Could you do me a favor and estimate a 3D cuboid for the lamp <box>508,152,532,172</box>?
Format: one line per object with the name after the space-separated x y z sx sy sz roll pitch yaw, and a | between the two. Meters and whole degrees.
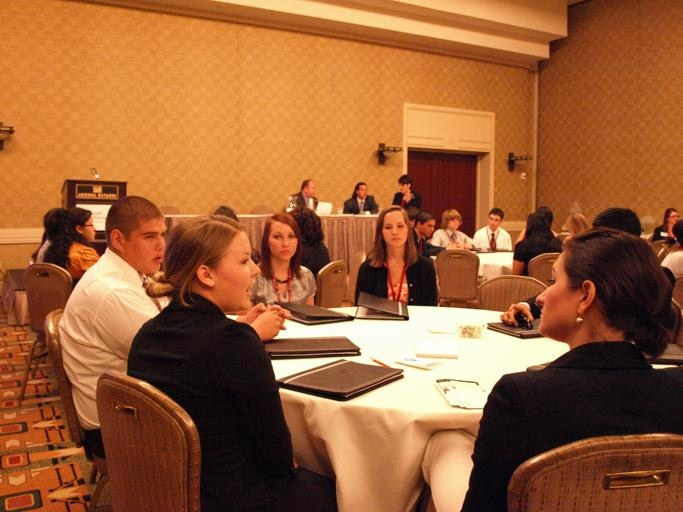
3.507 -1.799 10.554 0.496 0.486 0.372 -3 7 -37 | lamp

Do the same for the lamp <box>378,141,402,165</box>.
0.803 -1.771 9.092 0.467 0.308 0.326 -6 10 -33 | lamp
